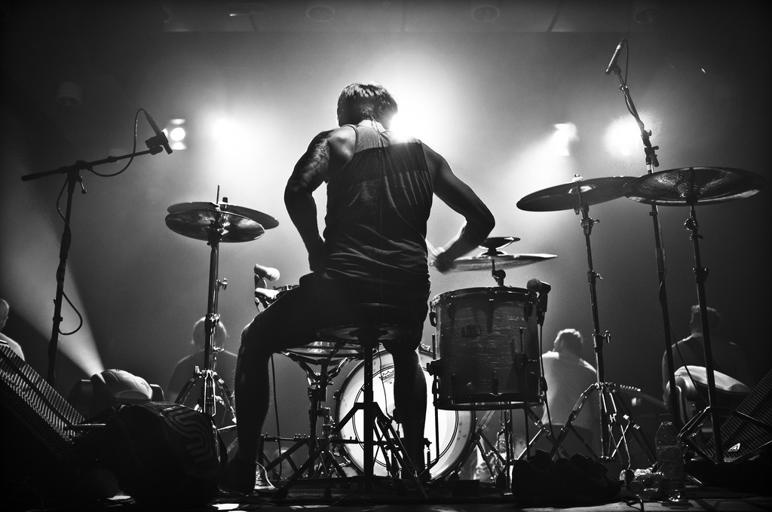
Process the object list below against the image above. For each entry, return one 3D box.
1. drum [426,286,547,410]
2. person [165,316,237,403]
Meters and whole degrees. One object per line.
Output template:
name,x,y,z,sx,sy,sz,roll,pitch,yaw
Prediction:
drum,1.069,0.950,8.514,1.250,1.090,1.180,3,-17,-11
person,-2.364,1.310,10.916,0.457,1.067,0.836,6,7,-20
